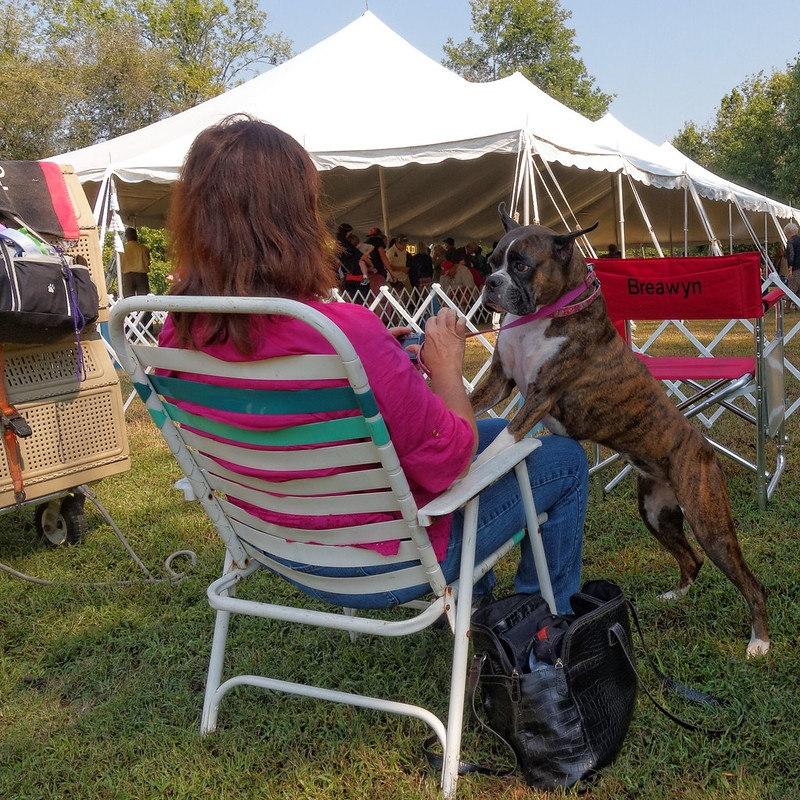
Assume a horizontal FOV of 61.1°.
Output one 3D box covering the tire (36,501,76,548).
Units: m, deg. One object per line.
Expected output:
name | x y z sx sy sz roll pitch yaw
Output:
tire | -1.848 0.637 3.566 0.322 0.256 0.099 6 14 36

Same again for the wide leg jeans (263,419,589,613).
wide leg jeans | 0.159 0.261 1.888 0.552 0.632 0.736 1 4 27

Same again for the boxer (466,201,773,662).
boxer | 0.685 0.081 2.427 1.319 1.384 0.544 10 6 -9

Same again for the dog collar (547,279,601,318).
dog collar | 0.589 -0.352 2.319 0.178 0.047 0.130 -39 9 -32

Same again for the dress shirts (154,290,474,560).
dress shirts | -0.164 0.095 1.562 0.630 0.643 0.327 2 12 19

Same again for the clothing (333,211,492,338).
clothing | -0.099 -2.184 11.030 2.296 1.823 4.327 3 7 10

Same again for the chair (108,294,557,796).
chair | -0.178 0.193 2.049 0.840 1.362 1.311 0 10 19

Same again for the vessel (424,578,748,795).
vessel | 0.475 0.695 1.727 0.653 0.303 0.485 -8 -2 23
